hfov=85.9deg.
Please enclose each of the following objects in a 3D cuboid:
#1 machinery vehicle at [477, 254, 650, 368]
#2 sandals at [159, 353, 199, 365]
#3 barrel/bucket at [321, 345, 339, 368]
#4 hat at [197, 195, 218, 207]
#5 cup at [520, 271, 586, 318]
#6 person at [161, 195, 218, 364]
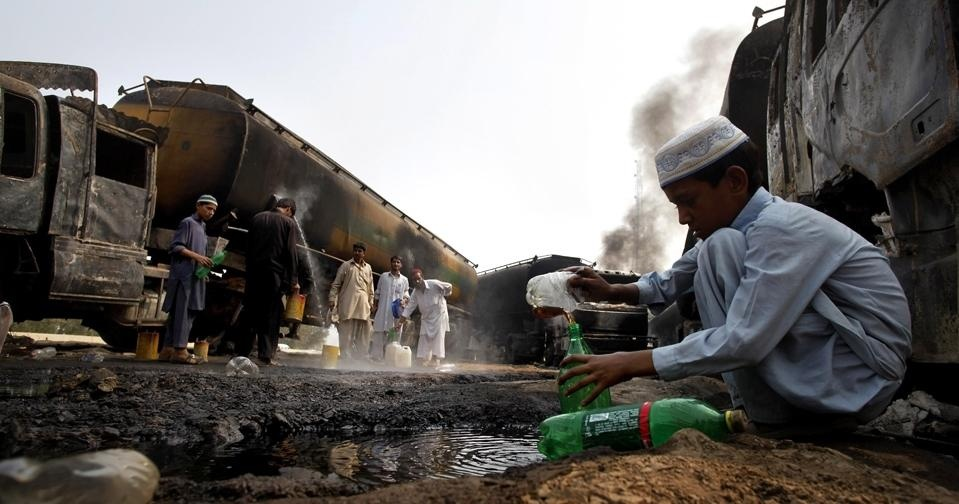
[{"bbox_3d":[2.690,1.802,14.766,2.158,3.019,8.705,2,-8,-22],"label":"machinery vehicle"},{"bbox_3d":[-4.017,1.441,6.961,0.563,0.125,0.200,1,-4,-4],"label":"sandals"},{"bbox_3d":[-2.437,1.714,8.477,0.370,0.357,0.340,3,-1,0],"label":"barrel/bucket"},{"bbox_3d":[-3.883,-0.731,7.381,0.376,0.120,0.266,-1,-7,24],"label":"hat"},{"bbox_3d":[0.624,0.360,4.384,0.489,0.309,0.333,-4,-5,-9],"label":"cup"},{"bbox_3d":[-3.958,0.322,7.058,0.514,2.322,0.724,7,-19,-29],"label":"person"}]
